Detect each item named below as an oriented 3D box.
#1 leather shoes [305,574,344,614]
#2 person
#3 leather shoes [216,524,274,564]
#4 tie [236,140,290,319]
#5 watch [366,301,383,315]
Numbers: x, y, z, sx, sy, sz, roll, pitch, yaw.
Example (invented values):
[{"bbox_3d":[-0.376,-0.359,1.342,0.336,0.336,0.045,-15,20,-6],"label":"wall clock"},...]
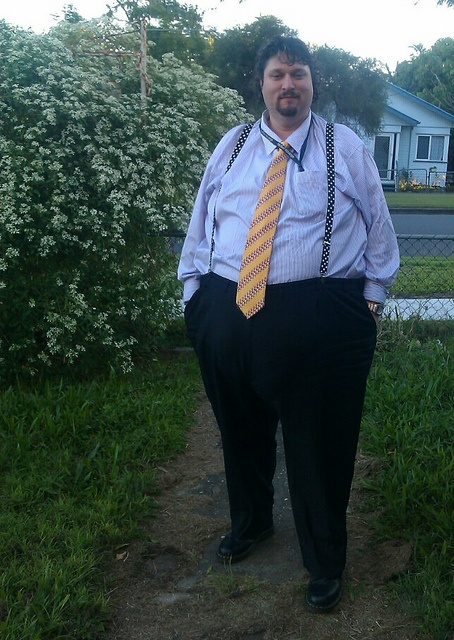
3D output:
[{"bbox_3d":[0.321,0.906,1.875,0.061,0.062,0.160,3,6,20],"label":"leather shoes"},{"bbox_3d":[0.200,0.024,1.927,0.479,1.869,0.704,-5,17,-41],"label":"person"},{"bbox_3d":[0.079,0.877,2.232,0.221,0.075,0.077,3,-3,-42],"label":"leather shoes"},{"bbox_3d":[0.118,-0.254,1.718,0.104,0.552,0.052,15,1,28],"label":"tie"},{"bbox_3d":[0.479,-0.037,1.820,0.059,0.030,0.054,2,-5,-13],"label":"watch"}]
